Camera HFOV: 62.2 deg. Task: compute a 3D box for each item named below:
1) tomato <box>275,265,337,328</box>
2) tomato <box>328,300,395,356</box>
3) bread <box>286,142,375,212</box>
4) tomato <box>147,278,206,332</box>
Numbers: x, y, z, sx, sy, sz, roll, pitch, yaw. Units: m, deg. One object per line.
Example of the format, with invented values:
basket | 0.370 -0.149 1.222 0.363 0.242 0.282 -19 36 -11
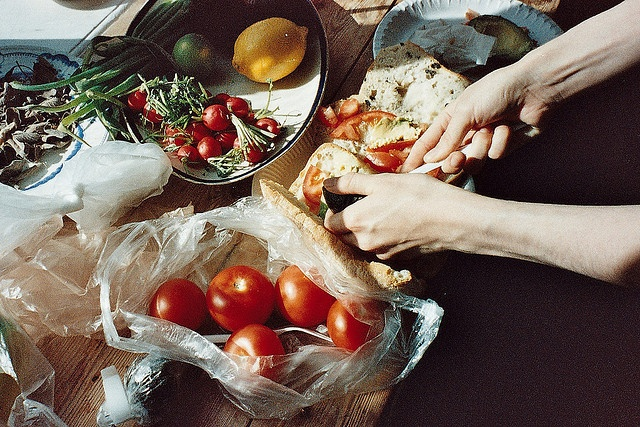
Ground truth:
tomato | -0.034 0.226 1.486 0.136 0.146 0.166 16 61 -10
tomato | 0.068 0.296 1.370 0.121 0.090 0.081 24 57 22
bread | -0.001 -0.096 1.397 0.184 0.058 0.198 34 93 7
tomato | -0.353 0.232 1.394 0.127 0.158 0.141 -28 95 -9
